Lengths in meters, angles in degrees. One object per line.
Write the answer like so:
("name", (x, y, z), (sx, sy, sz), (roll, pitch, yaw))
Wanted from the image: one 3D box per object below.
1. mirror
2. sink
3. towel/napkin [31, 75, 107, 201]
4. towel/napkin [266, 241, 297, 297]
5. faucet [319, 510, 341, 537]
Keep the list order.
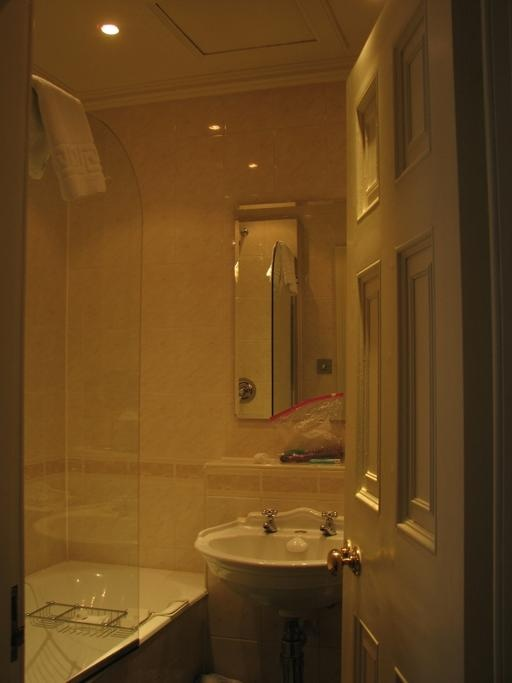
("mirror", (0.059, -0.080, 2.622), (0.245, 0.948, 0.021), (1, 30, 2))
("sink", (0.039, 0.788, 2.127), (0.512, 0.366, 0.503), (-3, -7, 9))
("towel/napkin", (-0.520, -0.527, 1.712), (0.127, 0.331, 0.277), (-2, 12, 11))
("towel/napkin", (0.086, -0.287, 2.617), (0.150, 0.267, 0.039), (5, 2, 44))
("faucet", (0.270, 0.654, 2.259), (0.057, 0.138, 0.064), (-3, -7, 39))
